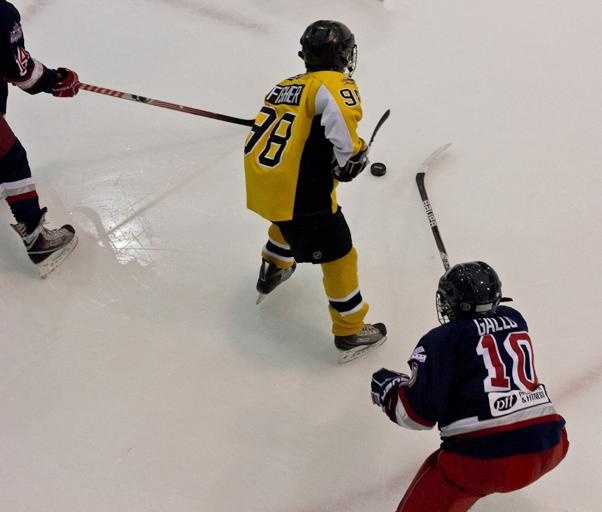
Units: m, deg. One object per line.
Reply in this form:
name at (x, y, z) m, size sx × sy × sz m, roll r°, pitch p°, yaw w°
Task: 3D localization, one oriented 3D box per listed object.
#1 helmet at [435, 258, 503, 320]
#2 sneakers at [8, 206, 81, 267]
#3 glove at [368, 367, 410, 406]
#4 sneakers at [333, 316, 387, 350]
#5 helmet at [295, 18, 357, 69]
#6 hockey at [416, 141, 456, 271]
helmet at (0.703, 0.182, 2.877) m, size 0.221 × 0.257 × 0.274 m, roll -8°, pitch 27°, yaw -9°
sneakers at (-1.441, -0.094, 3.653) m, size 0.108 × 0.237 × 0.326 m, roll 34°, pitch 53°, yaw 32°
glove at (0.386, 0.602, 3.008) m, size 0.137 × 0.080 × 0.181 m, roll -15°, pitch 28°, yaw -18°
sneakers at (0.321, 0.433, 3.491) m, size 0.321 × 0.155 × 0.120 m, roll -19°, pitch 44°, yaw -10°
helmet at (0.115, -1.016, 3.100) m, size 0.214 × 0.214 × 0.272 m, roll 9°, pitch 37°, yaw 14°
hockey at (0.845, -0.281, 4.109) m, size 0.244 × 0.026 × 1.022 m, roll -10°, pitch 42°, yaw 5°
